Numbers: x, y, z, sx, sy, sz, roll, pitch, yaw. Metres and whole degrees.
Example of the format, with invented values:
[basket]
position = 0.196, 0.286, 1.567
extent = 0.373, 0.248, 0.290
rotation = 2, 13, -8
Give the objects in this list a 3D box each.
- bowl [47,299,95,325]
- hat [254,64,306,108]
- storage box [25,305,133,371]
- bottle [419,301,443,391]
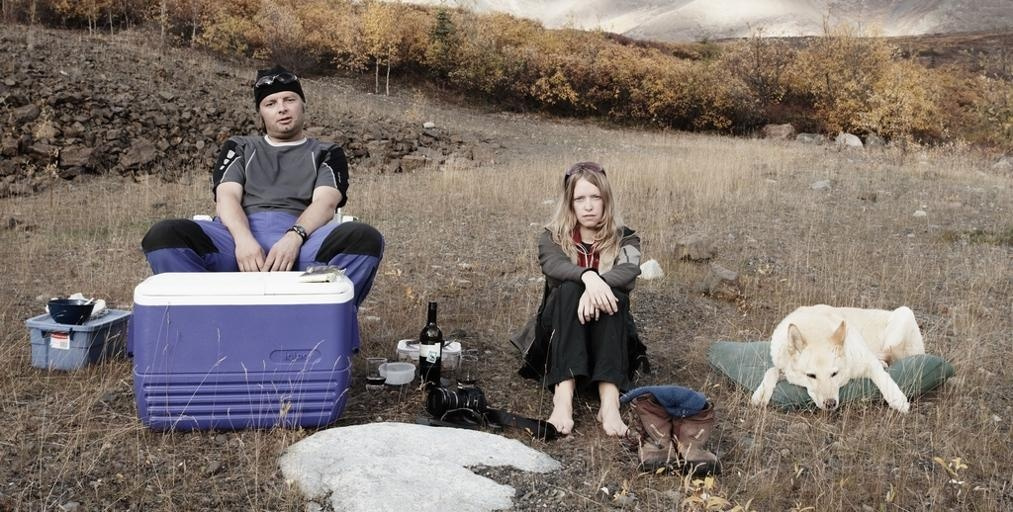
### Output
[bowl]
position = -7.165, 0.857, 13.610
extent = 0.527, 0.282, 0.489
rotation = 6, 3, 0
[hat]
position = -3.922, -2.725, 14.228
extent = 0.717, 0.794, 0.230
rotation = -16, 61, -20
[storage box]
position = -7.047, 1.425, 13.625
extent = 1.049, 0.582, 1.328
rotation = 3, 8, 7
[bottle]
position = -1.267, 1.443, 13.505
extent = 0.360, 1.399, 0.445
rotation = 0, 13, -6
